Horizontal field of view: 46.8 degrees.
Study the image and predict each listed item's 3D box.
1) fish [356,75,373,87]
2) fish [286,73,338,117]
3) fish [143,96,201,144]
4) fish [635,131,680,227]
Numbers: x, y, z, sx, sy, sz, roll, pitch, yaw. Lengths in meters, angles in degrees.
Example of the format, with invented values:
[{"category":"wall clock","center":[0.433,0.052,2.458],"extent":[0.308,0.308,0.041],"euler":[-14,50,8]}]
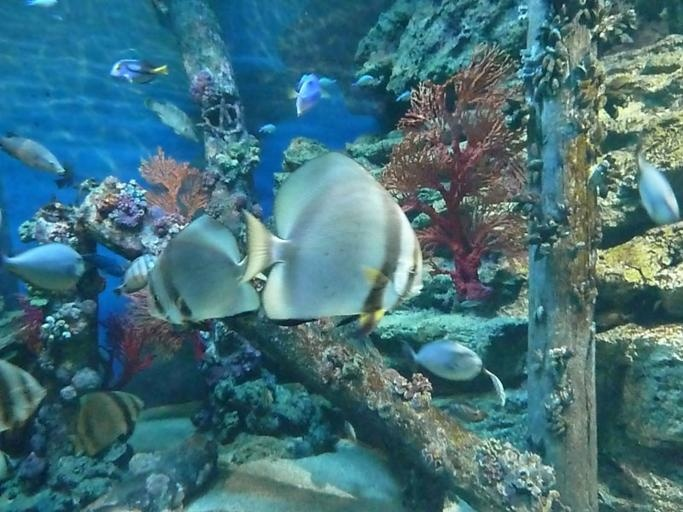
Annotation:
[{"category":"fish","center":[0.438,-3.239,14.638],"extent":[0.107,0.183,0.441],"euler":[30,39,16]},{"category":"fish","center":[-0.520,-2.812,13.687],"extent":[0.704,0.496,0.608],"euler":[-6,-3,-3]},{"category":"fish","center":[-3.292,-2.651,15.432],"extent":[1.050,0.791,0.270],"euler":[-4,-3,-29]},{"category":"fish","center":[4.468,-0.969,11.146],"extent":[0.483,1.134,0.251],"euler":[-7,-3,21]}]
